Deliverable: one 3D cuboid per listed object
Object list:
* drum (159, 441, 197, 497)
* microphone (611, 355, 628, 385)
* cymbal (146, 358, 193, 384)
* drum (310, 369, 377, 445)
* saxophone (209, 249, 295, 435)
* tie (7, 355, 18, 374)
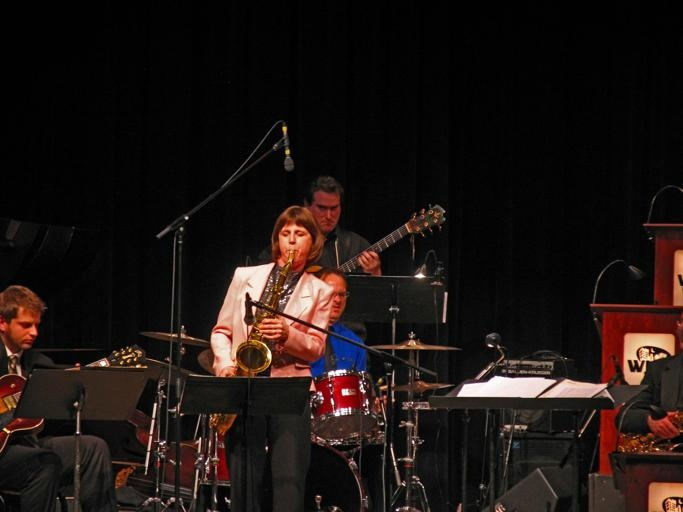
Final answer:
[{"bbox_3d":[-1.259,1.683,6.779,0.314,0.454,0.362,1,3,-1],"label":"drum"},{"bbox_3d":[1.944,0.804,5.893,0.091,0.233,0.211,-10,-3,-1],"label":"microphone"},{"bbox_3d":[-1.343,0.888,6.484,0.316,0.080,0.333,14,-12,26],"label":"cymbal"},{"bbox_3d":[-0.018,1.169,6.194,0.497,0.372,0.519,-3,-37,-2],"label":"drum"},{"bbox_3d":[-0.537,0.532,5.224,0.308,1.097,0.543,17,-22,-37],"label":"saxophone"},{"bbox_3d":[-2.512,0.838,6.442,0.081,0.118,0.027,3,-1,-42],"label":"tie"}]
